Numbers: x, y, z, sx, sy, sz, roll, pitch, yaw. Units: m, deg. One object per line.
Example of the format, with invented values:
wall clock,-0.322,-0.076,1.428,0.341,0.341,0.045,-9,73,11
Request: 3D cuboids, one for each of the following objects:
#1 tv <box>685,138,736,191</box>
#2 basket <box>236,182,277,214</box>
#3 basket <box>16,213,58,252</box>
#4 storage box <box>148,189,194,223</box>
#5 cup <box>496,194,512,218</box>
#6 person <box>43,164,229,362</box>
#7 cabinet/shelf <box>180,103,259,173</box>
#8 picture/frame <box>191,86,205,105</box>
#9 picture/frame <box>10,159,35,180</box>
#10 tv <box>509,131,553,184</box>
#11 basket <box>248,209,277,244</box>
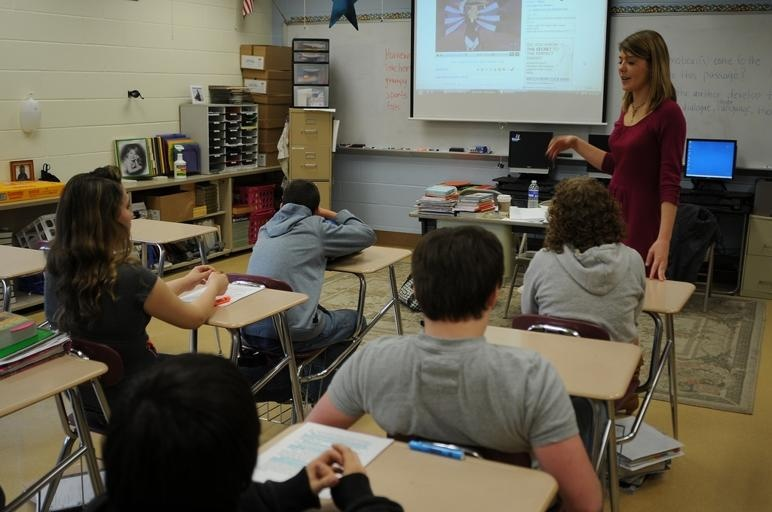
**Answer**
tv,3.370,-0.956,5.440,0.549,0.555,0.211,3,3,21
basket,-1.698,-0.757,6.924,0.316,0.274,0.434,7,13,39
basket,-2.935,-0.185,4.409,0.238,0.143,0.233,-36,10,-34
storage box,-2.419,-0.561,5.915,0.313,0.348,0.586,9,15,30
cup,1.032,-0.434,4.666,0.176,0.238,0.177,-1,8,0
person,-1.194,0.112,2.417,0.685,1.022,0.697,10,14,22
cabinet/shelf,-2.052,-1.438,6.371,0.433,0.854,0.909,3,8,28
picture/frame,-2.292,-1.949,6.399,0.022,0.263,0.265,-2,11,30
picture/frame,-3.379,-0.795,4.872,0.016,0.200,0.196,-1,2,40
tv,1.705,-1.203,6.142,0.460,0.595,0.321,7,34,26
basket,-1.700,-0.415,7.006,0.376,0.342,0.544,-4,1,7
